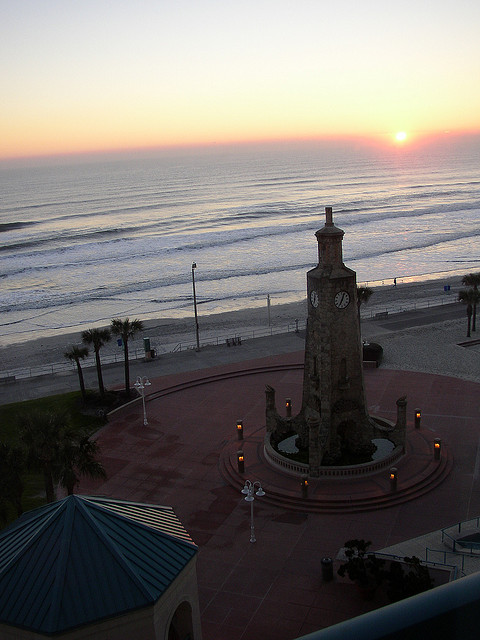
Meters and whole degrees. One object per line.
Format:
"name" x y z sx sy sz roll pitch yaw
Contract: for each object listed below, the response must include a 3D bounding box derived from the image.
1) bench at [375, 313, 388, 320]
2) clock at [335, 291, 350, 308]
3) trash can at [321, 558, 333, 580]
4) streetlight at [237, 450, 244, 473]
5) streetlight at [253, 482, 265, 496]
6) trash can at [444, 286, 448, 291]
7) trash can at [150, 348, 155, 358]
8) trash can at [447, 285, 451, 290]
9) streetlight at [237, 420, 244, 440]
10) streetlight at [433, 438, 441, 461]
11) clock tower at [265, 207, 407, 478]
"bench" 12.915 -0.301 52.458 1.080 0.244 1.113 1 23 17
"clock" 4.393 -0.873 24.744 0.652 0.651 0.148 4 7 -29
"trash can" 2.891 8.205 19.001 0.364 0.705 0.296 -4 13 -2
"streetlight" 0.006 6.333 26.133 0.276 0.966 0.726 -4 13 -1
"streetlight" 0.841 7.075 24.016 0.466 0.546 0.334 -8 20 -22
"trash can" 23.466 -3.594 65.446 0.393 0.406 0.415 1 2 -5
"trash can" -6.874 2.598 45.062 0.299 0.517 0.551 -2 13 6
"trash can" 24.458 -3.779 67.410 0.354 0.652 0.684 3 9 20
"streetlight" -0.007 5.526 29.394 0.306 1.058 0.625 -4 13 -1
"streetlight" 8.874 5.784 25.989 0.276 0.954 0.581 2 14 24
"clock tower" 4.154 0.700 25.480 6.072 11.156 2.593 -1 13 14
